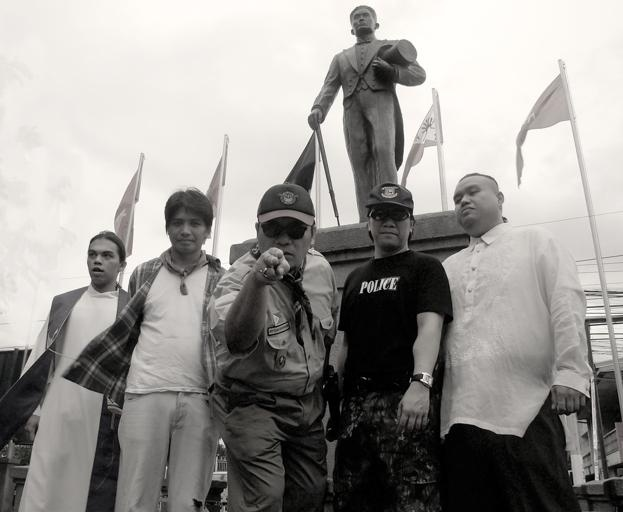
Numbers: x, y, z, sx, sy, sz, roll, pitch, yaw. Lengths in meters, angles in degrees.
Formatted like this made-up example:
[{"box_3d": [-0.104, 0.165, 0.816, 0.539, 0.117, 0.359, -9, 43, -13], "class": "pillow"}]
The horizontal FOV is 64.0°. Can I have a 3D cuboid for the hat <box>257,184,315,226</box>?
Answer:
[{"box_3d": [-0.134, -0.288, 2.761, 0.256, 0.247, 0.387, 2, -10, -1], "class": "hat"}]

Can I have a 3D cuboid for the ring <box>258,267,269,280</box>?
[{"box_3d": [-0.229, 0.079, 2.396, 0.034, 0.059, 0.013, -4, 1, 14], "class": "ring"}]

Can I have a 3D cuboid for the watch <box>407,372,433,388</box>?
[{"box_3d": [0.586, 0.634, 2.646, 0.109, 0.076, 0.116, 17, -30, -11], "class": "watch"}]

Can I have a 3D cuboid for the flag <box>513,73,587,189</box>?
[{"box_3d": [4.514, -2.706, 9.808, 1.055, 1.680, 0.742, 5, -16, -11], "class": "flag"}]
